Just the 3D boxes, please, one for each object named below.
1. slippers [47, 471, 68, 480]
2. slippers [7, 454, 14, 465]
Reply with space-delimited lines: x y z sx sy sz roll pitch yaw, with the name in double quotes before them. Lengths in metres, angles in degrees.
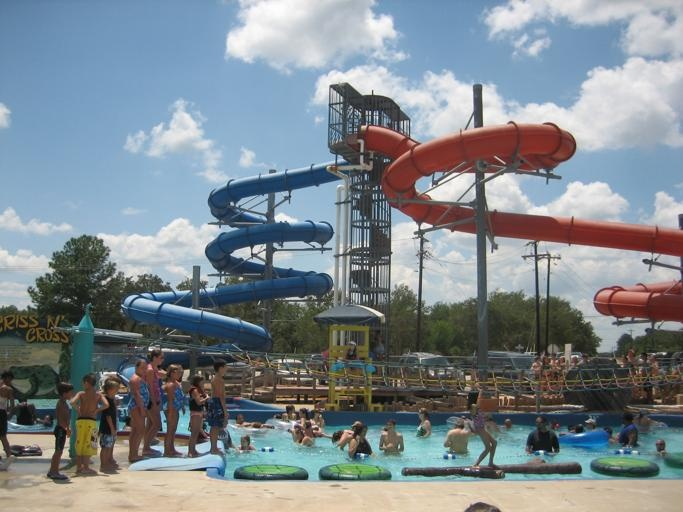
"slippers" -5.592 4.332 16.371 0.307 0.114 0.168 -1 -8 5
"slippers" -6.788 4.206 17.059 0.176 0.206 0.383 3 -10 -22
